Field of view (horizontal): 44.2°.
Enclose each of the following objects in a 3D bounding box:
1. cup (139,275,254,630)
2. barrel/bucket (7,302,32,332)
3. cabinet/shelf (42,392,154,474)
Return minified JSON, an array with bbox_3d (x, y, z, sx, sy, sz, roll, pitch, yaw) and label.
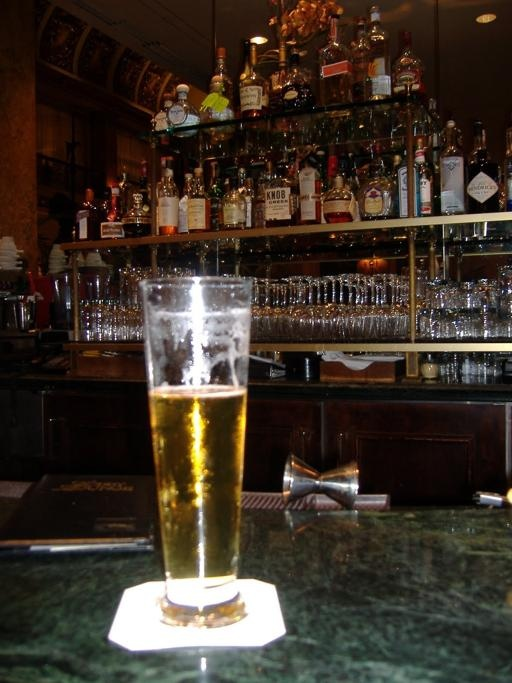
[{"bbox_3d":[-0.039,0.072,0.414,0.070,0.225,0.077,0,-2,0],"label":"cup"},{"bbox_3d":[-1.218,-0.125,3.299,0.147,0.160,0.147,3,1,0],"label":"barrel/bucket"},{"bbox_3d":[-0.660,0.363,2.783,0.618,0.397,0.330,1,2,16],"label":"cabinet/shelf"}]
